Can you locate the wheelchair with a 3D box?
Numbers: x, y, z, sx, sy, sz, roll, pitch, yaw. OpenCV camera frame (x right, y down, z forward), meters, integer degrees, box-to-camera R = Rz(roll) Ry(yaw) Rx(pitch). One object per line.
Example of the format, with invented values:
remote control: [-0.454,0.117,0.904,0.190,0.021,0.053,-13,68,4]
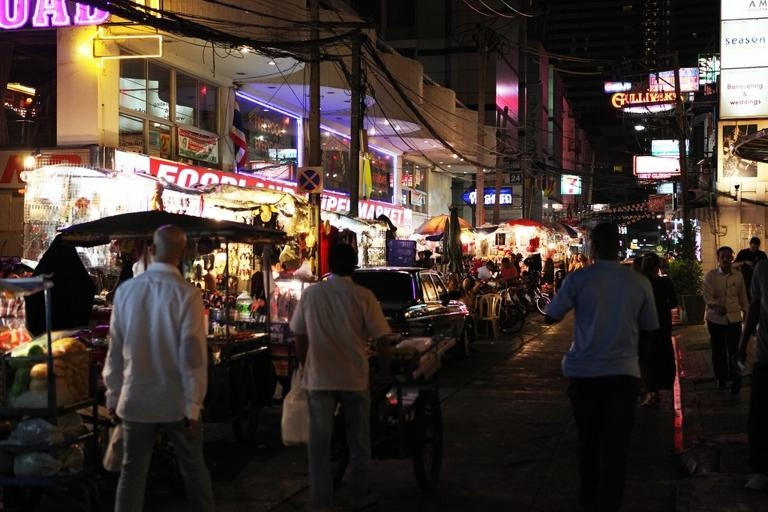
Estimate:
wheelchair: [-0.031,1.899,10.291,0.792,1.540,2.004,0,1,16]

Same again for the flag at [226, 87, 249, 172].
flag: [-4.189,-3.587,23.958,0.419,2.254,1.397,0,-1,-5]
